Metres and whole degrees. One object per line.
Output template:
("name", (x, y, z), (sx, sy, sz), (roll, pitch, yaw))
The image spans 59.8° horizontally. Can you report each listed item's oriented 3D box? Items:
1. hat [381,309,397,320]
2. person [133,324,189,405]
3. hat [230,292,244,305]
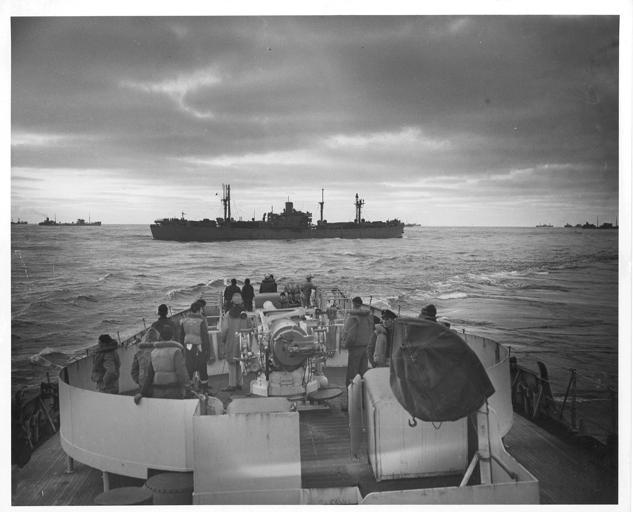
("hat", (1.233, 1.005, 9.817), (0.190, 0.122, 0.287), (12, -11, -23))
("person", (-2.299, 1.789, 8.150), (0.648, 1.757, 0.510), (0, 22, -15))
("hat", (-1.530, 0.801, 10.433), (0.214, 0.332, 0.323), (2, 5, -11))
